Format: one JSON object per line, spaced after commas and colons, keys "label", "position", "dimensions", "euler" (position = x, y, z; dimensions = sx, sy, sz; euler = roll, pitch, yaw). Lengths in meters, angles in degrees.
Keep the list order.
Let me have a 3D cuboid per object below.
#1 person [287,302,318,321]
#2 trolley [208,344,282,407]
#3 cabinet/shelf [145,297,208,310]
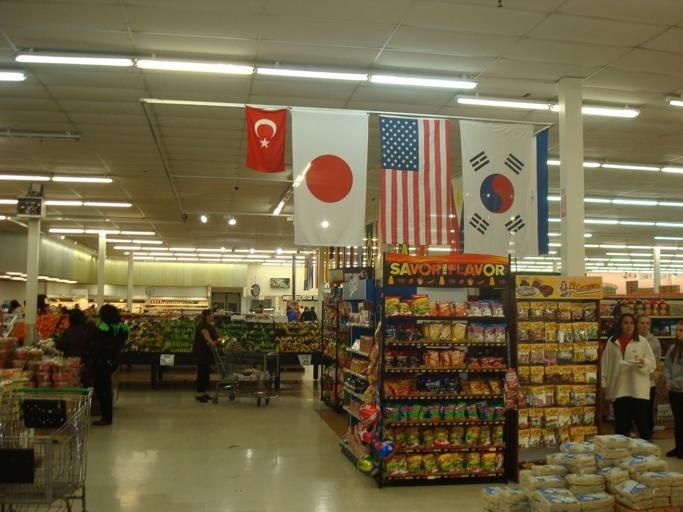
{"label": "person", "position": [-1.152, 1.602, 16.929], "dimensions": [0.801, 0.899, 0.498], "euler": [-4, -3, 0]}
{"label": "trolley", "position": [-1.911, 2.368, 11.946], "dimensions": [1.401, 1.410, 0.917], "euler": [0, -4, -8]}
{"label": "cabinet/shelf", "position": [-8.277, 2.419, 29.980], "dimensions": [2.181, 0.632, 3.480], "euler": [-5, -6, 42]}
